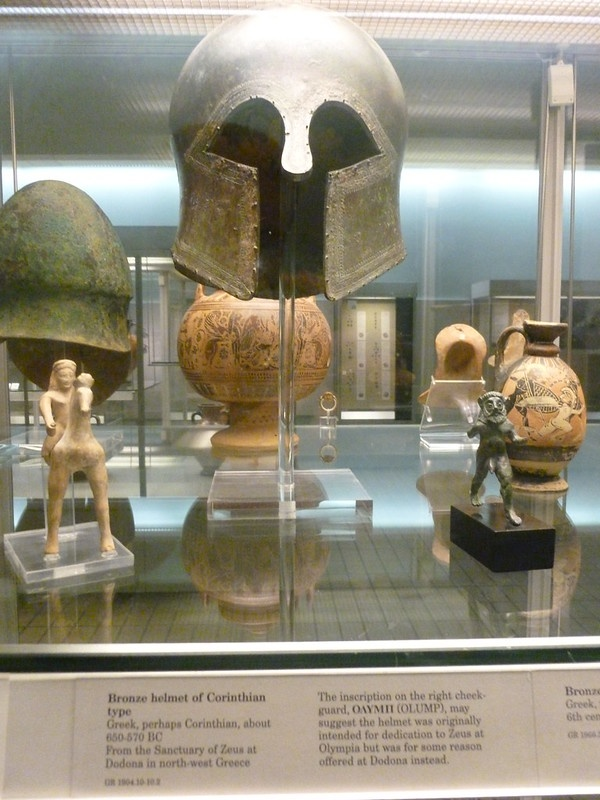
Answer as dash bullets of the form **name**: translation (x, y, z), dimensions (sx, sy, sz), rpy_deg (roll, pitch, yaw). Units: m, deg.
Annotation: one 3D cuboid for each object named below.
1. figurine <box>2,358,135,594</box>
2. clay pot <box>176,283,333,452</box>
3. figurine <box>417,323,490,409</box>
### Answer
- **figurine**: translation (-0.314, 0.081, 0.942), dimensions (0.172, 0.255, 0.249), rpy_deg (-2, 8, -15)
- **clay pot**: translation (-0.060, -0.096, 1.689), dimensions (0.358, 0.409, 0.348), rpy_deg (1, 7, 0)
- **figurine**: translation (0.370, -0.111, 1.825), dimensions (0.179, 0.194, 0.198), rpy_deg (2, 38, 7)
